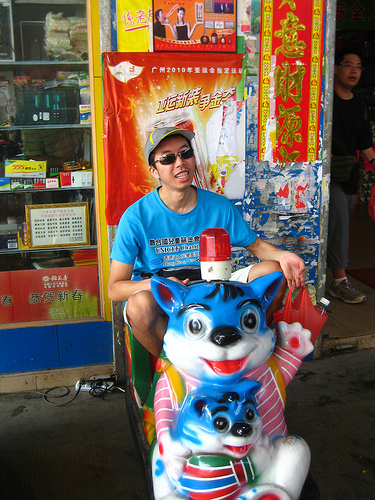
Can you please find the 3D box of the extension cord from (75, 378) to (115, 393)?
[{"bbox_3d":[-0.622,0.915,2.841,0.150,0.047,0.115,0,2,12],"label":"extension cord"}]

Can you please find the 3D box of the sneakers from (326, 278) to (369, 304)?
[{"bbox_3d":[1.648,0.423,4.204,0.160,0.207,0.436,-3,7,-38],"label":"sneakers"}]
